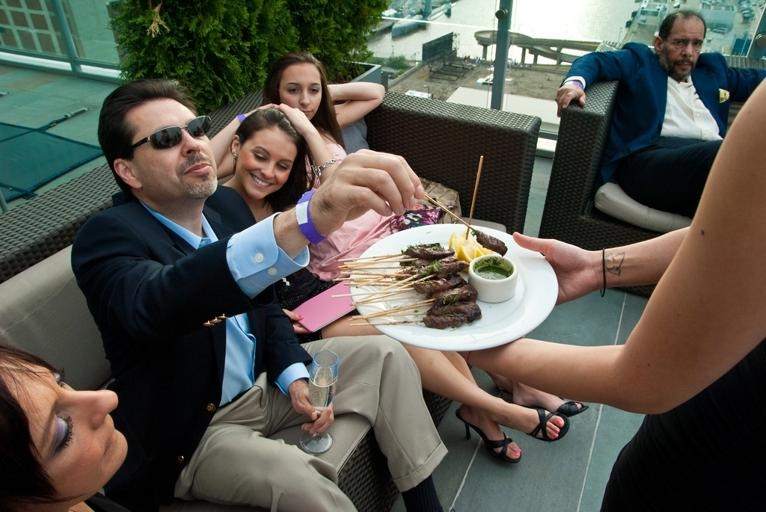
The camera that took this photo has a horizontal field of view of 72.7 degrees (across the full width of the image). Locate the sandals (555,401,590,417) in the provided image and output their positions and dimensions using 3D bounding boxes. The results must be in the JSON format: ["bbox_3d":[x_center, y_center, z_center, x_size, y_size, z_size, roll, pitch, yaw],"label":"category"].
[{"bbox_3d":[0.972,0.808,2.763,0.182,0.053,0.092,-2,58,2],"label":"sandals"}]

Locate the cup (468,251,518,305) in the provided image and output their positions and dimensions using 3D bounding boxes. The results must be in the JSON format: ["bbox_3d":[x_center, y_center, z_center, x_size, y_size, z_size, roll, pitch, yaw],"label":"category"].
[{"bbox_3d":[0.409,0.075,2.038,0.178,0.113,0.179,-5,41,4],"label":"cup"}]

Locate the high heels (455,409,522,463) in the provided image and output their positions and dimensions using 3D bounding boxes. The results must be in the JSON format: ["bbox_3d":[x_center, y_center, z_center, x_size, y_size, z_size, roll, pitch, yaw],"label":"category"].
[{"bbox_3d":[0.487,0.928,2.743,0.408,0.172,0.149,18,41,33],"label":"high heels"}]

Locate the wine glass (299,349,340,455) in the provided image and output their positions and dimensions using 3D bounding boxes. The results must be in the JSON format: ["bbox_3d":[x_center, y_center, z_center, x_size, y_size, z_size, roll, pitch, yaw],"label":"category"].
[{"bbox_3d":[-0.242,0.598,2.154,0.169,0.395,0.189,-1,24,-3],"label":"wine glass"}]

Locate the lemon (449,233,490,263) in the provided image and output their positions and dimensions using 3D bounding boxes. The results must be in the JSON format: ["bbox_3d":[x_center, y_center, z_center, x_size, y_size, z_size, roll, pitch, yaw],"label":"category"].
[{"bbox_3d":[0.341,-0.043,2.199,0.110,0.054,0.152,-28,47,-20],"label":"lemon"}]

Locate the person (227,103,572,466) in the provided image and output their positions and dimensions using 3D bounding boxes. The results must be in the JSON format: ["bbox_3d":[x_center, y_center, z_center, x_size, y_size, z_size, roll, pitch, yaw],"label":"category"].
[{"bbox_3d":[0.036,0.154,2.377,1.719,1.102,0.766,37,59,26],"label":"person"}]
